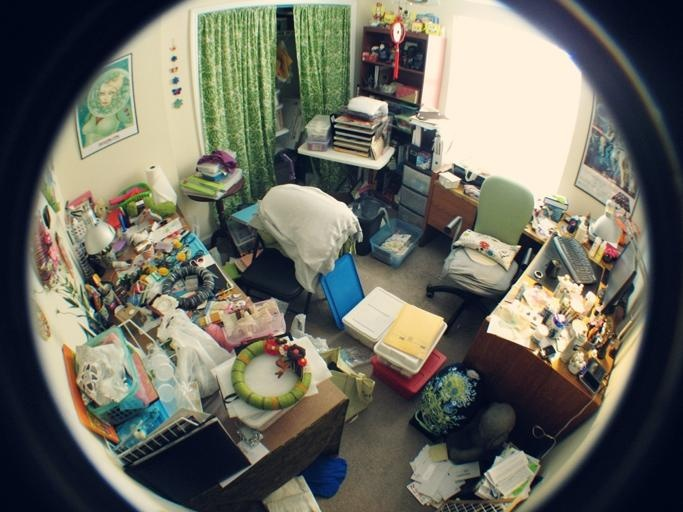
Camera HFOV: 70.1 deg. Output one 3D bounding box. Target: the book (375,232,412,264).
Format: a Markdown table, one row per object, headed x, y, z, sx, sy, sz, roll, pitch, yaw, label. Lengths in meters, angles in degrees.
| x | y | z | sx | sy | sz | roll | pitch | yaw | label |
| --- | --- | --- | --- | --- | --- | --- | --- | --- | --- |
| 0.447 | -0.090 | 3.853 | 0.182 | 0.099 | 0.292 | 22 | 54 | 28 | book |

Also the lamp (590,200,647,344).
| x | y | z | sx | sy | sz | roll | pitch | yaw | label |
| --- | --- | --- | --- | --- | --- | --- | --- | --- | --- |
| 1.147 | 0.075 | 2.025 | 0.140 | 0.408 | 0.561 | 3 | 23 | 15 | lamp |

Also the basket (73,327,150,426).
| x | y | z | sx | sy | sz | roll | pitch | yaw | label |
| --- | --- | --- | --- | --- | --- | --- | --- | --- | --- |
| -0.778 | 0.439 | 1.674 | 0.233 | 0.135 | 0.303 | -35 | 87 | -33 | basket |

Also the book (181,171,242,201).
| x | y | z | sx | sy | sz | roll | pitch | yaw | label |
| --- | --- | --- | --- | --- | --- | --- | --- | --- | --- |
| -0.925 | -0.470 | 3.309 | 0.237 | 0.064 | 0.263 | 11 | 39 | 12 | book |

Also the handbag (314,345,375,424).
| x | y | z | sx | sy | sz | roll | pitch | yaw | label |
| --- | --- | --- | --- | --- | --- | --- | --- | --- | --- |
| 0.018 | 0.643 | 2.401 | 0.186 | 0.336 | 0.323 | -24 | 39 | -19 | handbag |

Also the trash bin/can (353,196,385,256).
| x | y | z | sx | sy | sz | roll | pitch | yaw | label |
| --- | --- | --- | --- | --- | --- | --- | --- | --- | --- |
| 0.217 | -0.217 | 3.812 | 0.237 | 0.329 | 0.279 | 22 | 43 | 16 | trash bin/can |

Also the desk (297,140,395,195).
| x | y | z | sx | sy | sz | roll | pitch | yaw | label |
| --- | --- | --- | --- | --- | --- | --- | --- | --- | --- |
| 0.086 | -0.729 | 4.104 | 0.591 | 0.432 | 0.349 | 23 | 58 | 7 | desk |

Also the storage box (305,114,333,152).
| x | y | z | sx | sy | sz | roll | pitch | yaw | label |
| --- | --- | --- | --- | --- | --- | --- | --- | --- | --- |
| -0.175 | -1.017 | 3.942 | 0.184 | 0.176 | 0.290 | 6 | 54 | 7 | storage box |

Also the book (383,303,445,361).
| x | y | z | sx | sy | sz | roll | pitch | yaw | label |
| --- | --- | --- | --- | --- | --- | --- | --- | --- | --- |
| 0.390 | 0.406 | 2.623 | 0.239 | 0.085 | 0.305 | 20 | 37 | 28 | book |

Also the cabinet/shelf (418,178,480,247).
| x | y | z | sx | sy | sz | roll | pitch | yaw | label |
| --- | --- | --- | --- | --- | --- | --- | --- | --- | --- |
| 0.794 | -0.342 | 3.582 | 0.299 | 0.442 | 0.241 | 32 | 61 | 28 | cabinet/shelf |

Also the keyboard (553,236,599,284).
| x | y | z | sx | sy | sz | roll | pitch | yaw | label |
| --- | --- | --- | --- | --- | --- | --- | --- | --- | --- |
| 1.301 | 0.004 | 2.702 | 0.134 | 0.028 | 0.265 | 2 | 46 | -18 | keyboard |

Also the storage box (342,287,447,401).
| x | y | z | sx | sy | sz | roll | pitch | yaw | label |
| --- | --- | --- | --- | --- | --- | --- | --- | --- | --- |
| 0.287 | 0.475 | 2.849 | 0.432 | 0.268 | 0.612 | -39 | 46 | -15 | storage box |

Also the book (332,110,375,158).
| x | y | z | sx | sy | sz | roll | pitch | yaw | label |
| --- | --- | --- | --- | --- | --- | --- | --- | --- | --- |
| 0.078 | -0.944 | 3.798 | 0.284 | 0.181 | 0.360 | 28 | 23 | 26 | book |

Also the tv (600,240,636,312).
| x | y | z | sx | sy | sz | roll | pitch | yaw | label |
| --- | --- | --- | --- | --- | --- | --- | --- | --- | --- |
| 1.321 | 0.105 | 2.318 | 0.081 | 0.224 | 0.323 | 23 | 69 | 11 | tv |

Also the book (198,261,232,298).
| x | y | z | sx | sy | sz | roll | pitch | yaw | label |
| --- | --- | --- | --- | --- | --- | --- | --- | --- | --- |
| -0.679 | 0.127 | 2.620 | 0.133 | 0.047 | 0.202 | -20 | 64 | -38 | book |

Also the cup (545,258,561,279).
| x | y | z | sx | sy | sz | roll | pitch | yaw | label |
| --- | --- | --- | --- | --- | --- | --- | --- | --- | --- |
| 1.161 | 0.071 | 2.659 | 0.070 | 0.131 | 0.074 | 1 | 37 | -1 | cup |
